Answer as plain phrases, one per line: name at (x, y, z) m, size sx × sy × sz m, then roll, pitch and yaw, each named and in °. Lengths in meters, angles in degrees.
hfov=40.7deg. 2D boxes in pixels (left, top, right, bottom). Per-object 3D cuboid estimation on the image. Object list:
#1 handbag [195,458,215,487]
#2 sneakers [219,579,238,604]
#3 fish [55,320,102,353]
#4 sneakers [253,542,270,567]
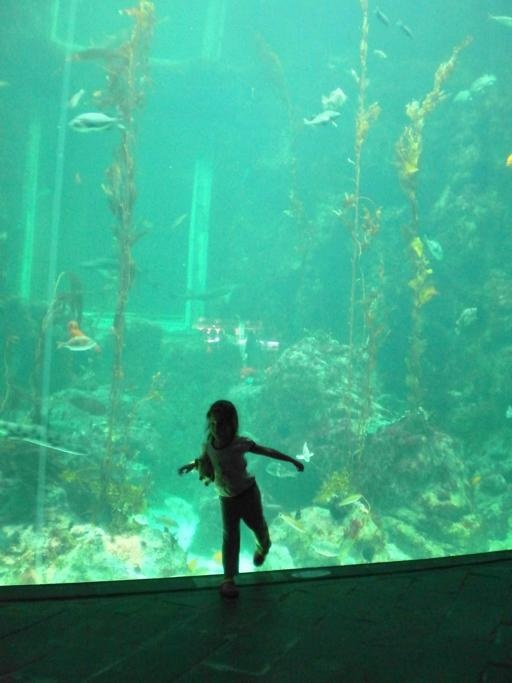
handbag at (-0.906, 2.214, 11.798) m, size 0.300 × 0.477 × 0.444 m, roll -2°, pitch -5°, yaw -6°
sneakers at (-0.439, 4.124, 11.336) m, size 0.317 × 0.326 × 0.244 m, roll -7°, pitch 1°, yaw -14°
fish at (-4.586, -0.165, 17.887) m, size 0.700 × 0.787 × 1.264 m, roll -7°, pitch 1°, yaw -16°
sneakers at (0.098, 3.683, 11.760) m, size 0.222 × 0.404 × 0.181 m, roll 20°, pitch 32°, yaw -6°
